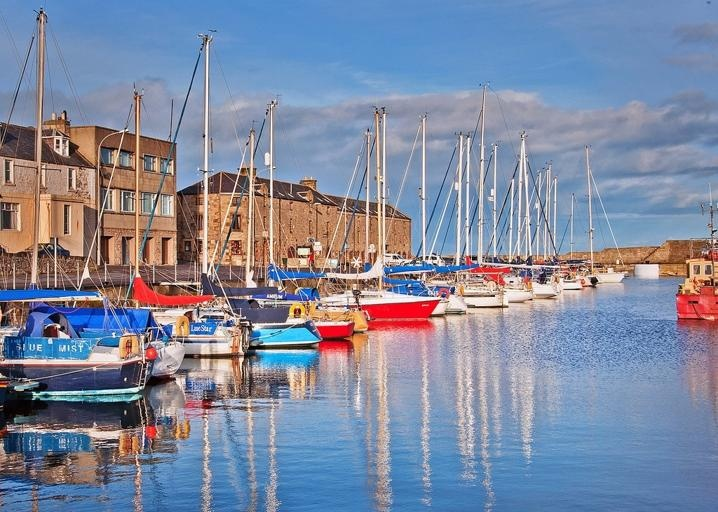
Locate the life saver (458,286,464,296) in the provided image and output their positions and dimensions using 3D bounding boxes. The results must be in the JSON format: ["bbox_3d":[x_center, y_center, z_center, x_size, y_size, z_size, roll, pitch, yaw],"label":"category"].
[{"bbox_3d":[7.237,2.488,87.290,0.330,0.796,1.156,2,12,8],"label":"life saver"}]

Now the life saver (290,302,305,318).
[{"bbox_3d":[-3.112,2.778,63.070,0.742,0.688,0.550,-2,1,2],"label":"life saver"}]

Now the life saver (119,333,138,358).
[{"bbox_3d":[-9.138,3.546,49.072,0.129,0.686,0.806,-8,-13,30],"label":"life saver"}]
